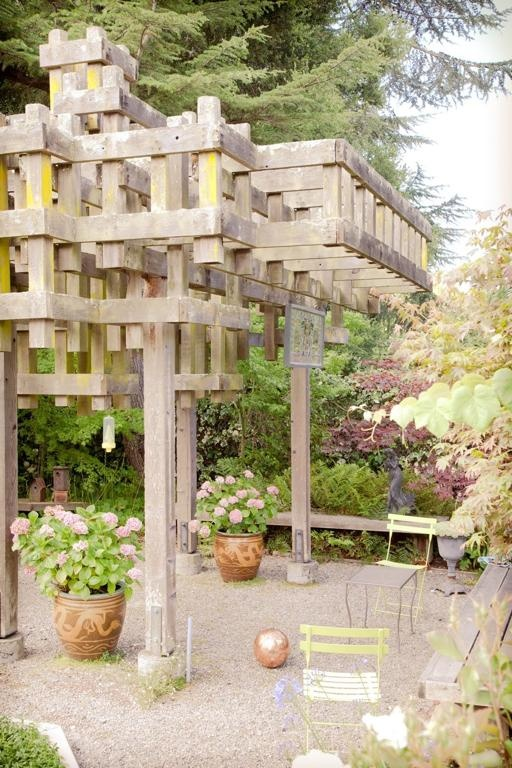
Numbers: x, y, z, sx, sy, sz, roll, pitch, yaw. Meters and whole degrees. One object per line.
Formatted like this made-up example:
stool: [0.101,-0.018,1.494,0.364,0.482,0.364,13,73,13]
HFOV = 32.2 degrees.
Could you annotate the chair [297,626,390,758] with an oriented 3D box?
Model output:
chair: [0.379,1.377,3.871,0.386,0.642,0.345,1,-4,8]

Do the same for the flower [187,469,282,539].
flower: [-0.157,1.046,7.609,0.650,0.578,0.660,0,3,-13]

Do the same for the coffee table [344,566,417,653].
coffee table: [0.828,1.417,5.800,0.448,0.292,0.273,-3,0,12]

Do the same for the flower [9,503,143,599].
flower: [-1.028,1.029,5.308,0.682,0.472,0.712,4,9,39]

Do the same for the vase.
vase: [-1.031,1.437,5.354,0.440,0.409,0.473,4,-2,-28]
